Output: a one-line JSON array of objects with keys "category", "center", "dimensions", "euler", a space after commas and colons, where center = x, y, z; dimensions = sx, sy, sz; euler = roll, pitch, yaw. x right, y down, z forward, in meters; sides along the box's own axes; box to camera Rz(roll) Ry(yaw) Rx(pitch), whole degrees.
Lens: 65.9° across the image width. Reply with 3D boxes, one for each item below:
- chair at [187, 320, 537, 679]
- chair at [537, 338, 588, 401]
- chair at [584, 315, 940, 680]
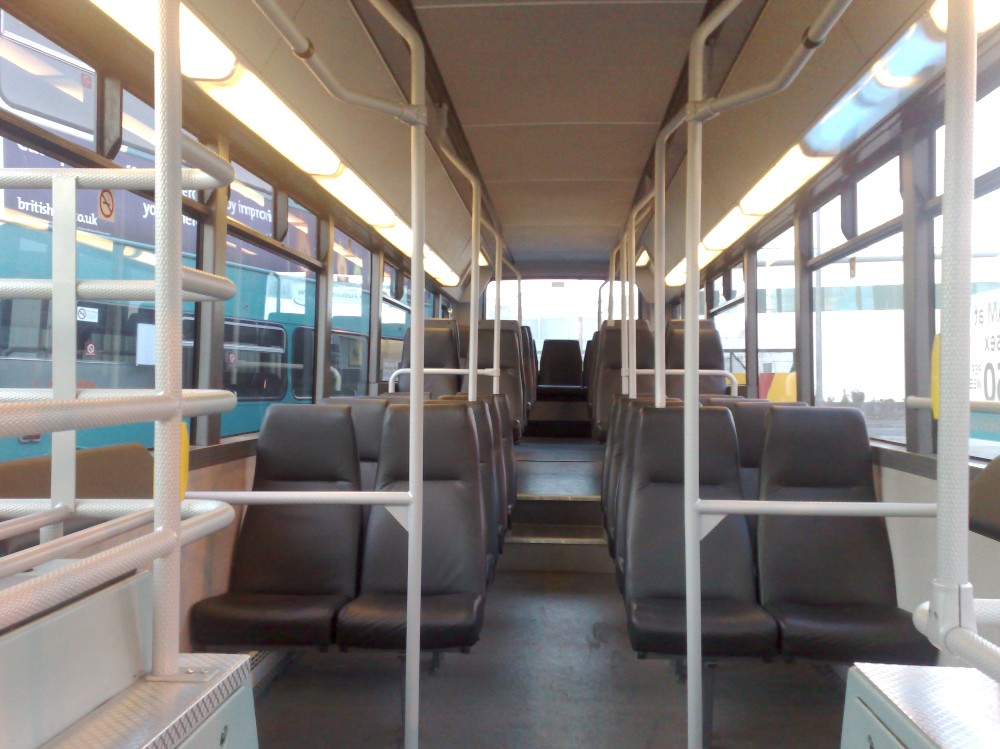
[{"category": "chair", "center": [-0.524, 0.543, 3.563], "dimensions": [1.227, 1.289, 1.088], "euler": [0, -10, 11]}, {"category": "chair", "center": [0.736, -0.046, 9.361], "dimensions": [0.515, 0.842, 0.693], "euler": [1, -11, 2]}, {"category": "chair", "center": [1.046, 0.526, 3.418], "dimensions": [1.186, 1.239, 1.073], "euler": [0, -9, -1]}]
